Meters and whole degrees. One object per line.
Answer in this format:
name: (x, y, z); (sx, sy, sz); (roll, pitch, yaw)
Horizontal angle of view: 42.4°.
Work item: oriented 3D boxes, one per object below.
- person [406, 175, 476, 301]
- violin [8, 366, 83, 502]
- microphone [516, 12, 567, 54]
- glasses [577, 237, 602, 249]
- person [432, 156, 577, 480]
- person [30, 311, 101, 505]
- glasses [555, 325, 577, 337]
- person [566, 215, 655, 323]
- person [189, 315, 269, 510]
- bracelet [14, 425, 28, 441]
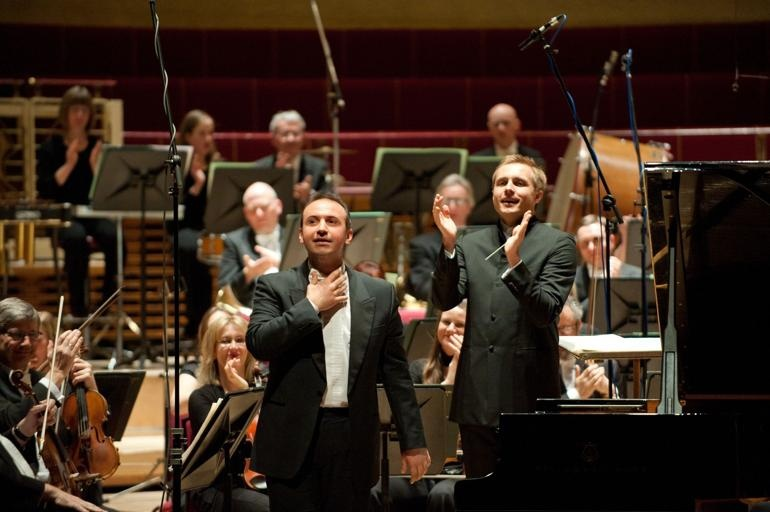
person: (0.456, -0.197, 9.113); (0.329, 1.040, 0.767); (12, 18, -42)
violin: (-2.217, 1.159, 6.367); (0.278, 0.862, 0.363); (-16, 0, 15)
microphone: (1.077, -1.474, 6.687); (0.207, 0.172, 0.345); (26, -15, -23)
glasses: (1.682, -0.112, 8.139); (0.144, 0.049, 0.210); (1, 3, 32)
person: (0.735, 0.668, 6.181); (0.821, 2.449, 0.783); (3, 4, 25)
person: (-2.224, 0.932, 6.661); (0.580, 1.405, 0.245); (-2, -7, -3)
glasses: (1.299, 0.518, 7.141); (0.128, 0.094, 0.164); (-2, -3, 16)
person: (1.895, -0.018, 8.480); (0.754, 1.083, 0.502); (-1, -7, -14)
person: (-1.139, 1.050, 6.955); (0.680, 1.290, 0.401); (-3, 2, -42)
bracelet: (-2.251, 1.077, 6.109); (0.076, 0.028, 0.078); (23, -27, 39)
